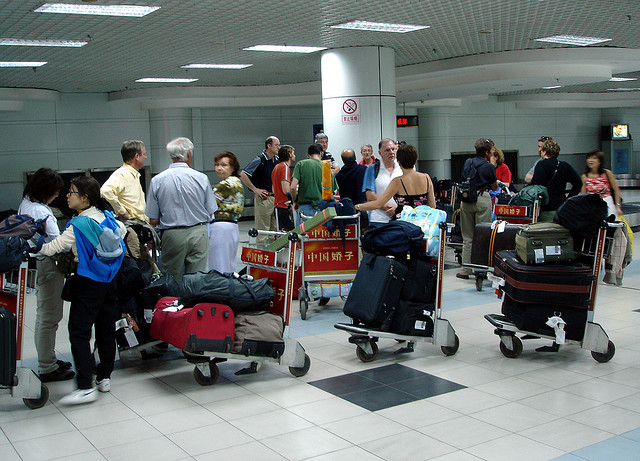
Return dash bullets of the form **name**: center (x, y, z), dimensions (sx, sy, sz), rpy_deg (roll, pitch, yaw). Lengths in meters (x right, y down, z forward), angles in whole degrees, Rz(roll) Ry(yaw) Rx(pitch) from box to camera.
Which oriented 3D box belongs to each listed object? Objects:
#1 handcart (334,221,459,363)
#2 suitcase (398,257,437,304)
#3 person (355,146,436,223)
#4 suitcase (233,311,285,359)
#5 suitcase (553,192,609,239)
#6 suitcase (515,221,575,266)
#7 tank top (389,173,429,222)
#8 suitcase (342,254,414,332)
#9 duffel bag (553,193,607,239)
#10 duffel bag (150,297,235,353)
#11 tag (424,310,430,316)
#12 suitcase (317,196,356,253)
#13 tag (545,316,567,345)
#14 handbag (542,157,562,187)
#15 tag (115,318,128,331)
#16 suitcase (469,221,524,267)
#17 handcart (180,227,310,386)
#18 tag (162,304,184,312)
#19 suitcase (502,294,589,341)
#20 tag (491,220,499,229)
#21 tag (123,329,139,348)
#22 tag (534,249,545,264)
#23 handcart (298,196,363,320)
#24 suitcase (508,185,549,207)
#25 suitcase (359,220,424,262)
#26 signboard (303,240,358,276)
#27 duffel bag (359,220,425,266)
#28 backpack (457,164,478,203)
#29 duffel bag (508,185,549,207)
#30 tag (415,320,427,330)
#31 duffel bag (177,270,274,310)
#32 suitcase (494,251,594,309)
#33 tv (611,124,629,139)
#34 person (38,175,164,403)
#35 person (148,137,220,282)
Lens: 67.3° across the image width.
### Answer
- **handcart**: center (0.678, 0.526, 4.730), dimensions (0.955, 1.346, 1.053), rpy_deg (-2, 8, -26)
- **suitcase**: center (0.887, 0.465, 4.560), dimensions (0.307, 0.420, 0.321), rpy_deg (-6, 9, -30)
- **person**: center (0.841, -0.536, 5.140), dimensions (0.710, 0.705, 0.299), rpy_deg (-1, 8, 11)
- **suitcase**: center (-0.542, 0.840, 4.145), dimensions (0.422, 0.320, 0.453), rpy_deg (0, 0, -14)
- **suitcase**: center (2.383, -0.186, 4.382), dimensions (0.284, 0.366, 0.378), rpy_deg (11, -20, -35)
- **suitcase**: center (2.056, 0.118, 4.474), dimensions (0.471, 0.319, 0.359), rpy_deg (-2, 9, 3)
- **tank top**: center (0.976, -0.353, 5.235), dimensions (0.392, 0.499, 0.506), rpy_deg (-1, 8, 6)
- **suitcase**: center (0.568, 0.568, 4.547), dimensions (0.403, 0.691, 0.507), rpy_deg (19, -6, -34)
- **duffel bag**: center (2.317, -0.152, 4.290), dimensions (0.399, 0.334, 0.118), rpy_deg (1, 9, 23)
- **duffel bag**: center (-1.131, 0.815, 4.188), dimensions (0.487, 0.335, 0.921), rpy_deg (10, -10, -36)
- **tag**: center (0.990, 0.762, 4.446), dimensions (0.054, 0.031, 0.027), rpy_deg (5, -20, -9)
- **suitcase**: center (0.253, -0.087, 6.197), dimensions (0.449, 0.663, 0.453), rpy_deg (-4, 11, -38)
- **tag**: center (2.129, 0.886, 4.447), dimensions (0.216, 0.262, 0.282), rpy_deg (10, -2, 19)
- **handbag**: center (3.588, -0.878, 7.393), dimensions (0.260, 0.379, 0.151), rpy_deg (-4, 8, -11)
- **tag**: center (-1.789, 0.840, 4.324), dimensions (0.111, 0.095, 0.092), rpy_deg (-7, 9, -36)
- **suitcase**: center (2.247, 0.179, 6.168), dimensions (0.260, 0.599, 0.642), rpy_deg (4, 4, -34)
- **handcart**: center (-0.790, 0.627, 4.327), dimensions (1.338, 1.153, 0.956), rpy_deg (3, 1, -23)
- **tag**: center (-1.237, 0.646, 4.059), dimensions (0.195, 0.075, 0.058), rpy_deg (4, 0, 11)
- **suitcase**: center (2.082, 0.797, 4.393), dimensions (0.497, 0.157, 0.375), rpy_deg (7, 4, 28)
- **tag**: center (2.416, -0.083, 6.716), dimensions (0.095, 0.117, 0.047), rpy_deg (8, 1, 29)
- **tag**: center (-1.729, 0.991, 4.443), dimensions (0.145, 0.140, 0.039), rpy_deg (-23, 8, 8)
- **tag**: center (1.953, 0.230, 4.301), dimensions (0.081, 0.119, 0.036), rpy_deg (-1, 8, 11)
- **handcart**: center (0.141, 0.425, 6.417), dimensions (1.075, 1.299, 1.108), rpy_deg (-1, -1, -20)
- **suitcase**: center (3.206, -0.527, 7.394), dimensions (0.429, 0.180, 0.328), rpy_deg (-1, 5, 31)
- **suitcase**: center (0.633, 0.068, 4.474), dimensions (0.493, 0.361, 0.516), rpy_deg (-2, 7, -35)
- **signboard**: center (0.126, 0.346, 6.059), dimensions (0.843, 0.493, 0.428), rpy_deg (0, 2, -7)
- **duffel bag**: center (0.617, 0.080, 4.466), dimensions (0.487, 0.399, 0.514), rpy_deg (-2, 7, -35)
- **backpack**: center (2.257, -0.721, 7.456), dimensions (0.235, 0.589, 0.363), rpy_deg (-5, 8, -21)
- **duffel bag**: center (3.199, -0.530, 7.399), dimensions (0.426, 0.175, 0.328), rpy_deg (1, 6, 35)
- **tag**: center (0.918, 0.871, 4.434), dimensions (0.120, 0.070, 0.023), rpy_deg (6, 2, -21)
- **duffel bag**: center (-0.802, 0.502, 4.152), dimensions (0.779, 0.272, 0.515), rpy_deg (8, -13, -28)
- **suitcase**: center (2.078, 0.470, 4.399), dimensions (0.624, 0.218, 0.462), rpy_deg (0, 4, -7)
- **tv**: center (15.452, -5.140, 24.935), dimensions (0.861, 0.629, 0.434), rpy_deg (0, -1, -3)
- **person**: center (-1.845, 0.442, 4.161), dimensions (0.547, 1.815, 1.033), rpy_deg (-2, 8, 4)
- **person**: center (-1.466, 0.021, 4.972), dimensions (0.778, 1.861, 0.564), rpy_deg (0, 16, -27)
